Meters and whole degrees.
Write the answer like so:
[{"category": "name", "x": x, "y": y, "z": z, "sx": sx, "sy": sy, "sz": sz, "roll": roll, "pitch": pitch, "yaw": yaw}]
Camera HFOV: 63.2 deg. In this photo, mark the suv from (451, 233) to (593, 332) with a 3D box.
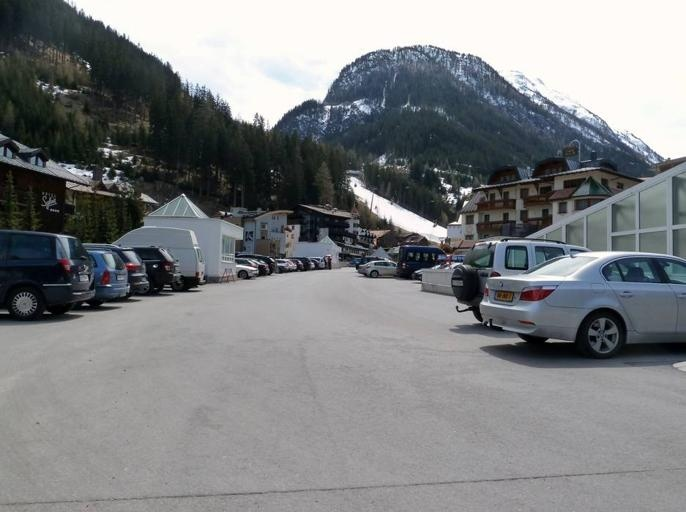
[{"category": "suv", "x": 4.469, "y": 0.591, "z": 14.350, "sx": 3.258, "sy": 1.686, "sz": 1.804, "roll": -3, "pitch": 1, "yaw": -23}]
